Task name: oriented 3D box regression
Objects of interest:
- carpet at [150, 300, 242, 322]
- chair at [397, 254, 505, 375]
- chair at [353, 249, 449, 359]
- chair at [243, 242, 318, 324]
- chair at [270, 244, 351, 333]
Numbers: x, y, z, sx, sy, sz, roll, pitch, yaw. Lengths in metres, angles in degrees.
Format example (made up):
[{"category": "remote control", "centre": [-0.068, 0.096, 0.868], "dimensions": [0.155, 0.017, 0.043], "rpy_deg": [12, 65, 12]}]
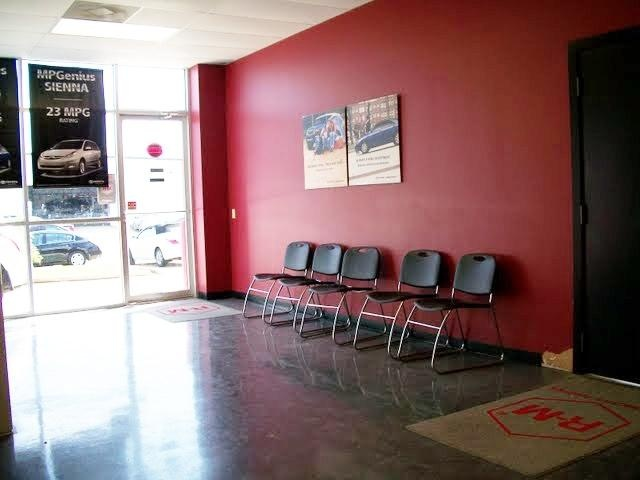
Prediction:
[{"category": "carpet", "centre": [-2.047, 1.102, 7.412], "dimensions": [1.133, 0.057, 1.492], "rpy_deg": [-4, 8, -36]}, {"category": "chair", "centre": [1.289, 0.673, 4.853], "dimensions": [0.707, 1.116, 1.065], "rpy_deg": [-3, 7, -31]}, {"category": "chair", "centre": [0.838, 0.650, 5.065], "dimensions": [0.881, 1.112, 0.798], "rpy_deg": [1, -1, -8]}, {"category": "chair", "centre": [-0.609, 0.568, 6.633], "dimensions": [0.834, 1.124, 0.659], "rpy_deg": [1, 2, -26]}, {"category": "chair", "centre": [-0.294, 0.573, 6.167], "dimensions": [0.677, 1.090, 0.794], "rpy_deg": [11, 4, 37]}]
